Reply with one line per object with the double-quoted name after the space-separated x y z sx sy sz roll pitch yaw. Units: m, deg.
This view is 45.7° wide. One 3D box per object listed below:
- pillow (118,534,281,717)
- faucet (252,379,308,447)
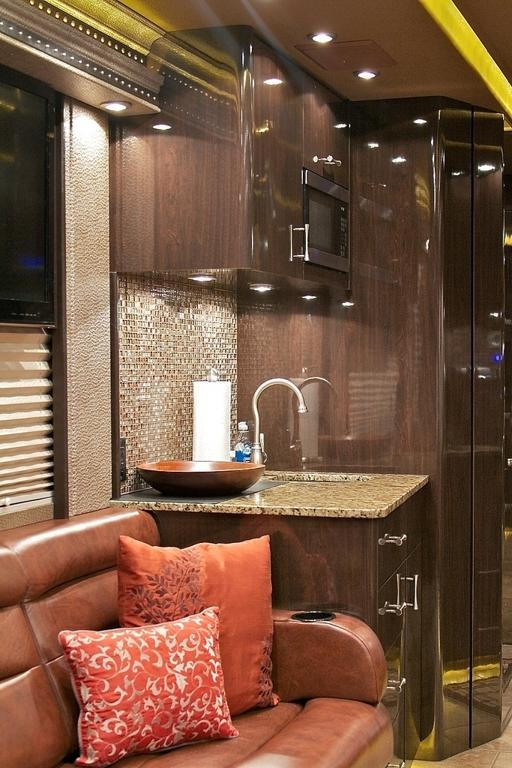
-0.126 0.528 1.309 0.115 0.363 0.323 -17 -21 41 "pillow"
0.096 0.110 2.484 0.206 0.264 0.431 0 2 4 "faucet"
